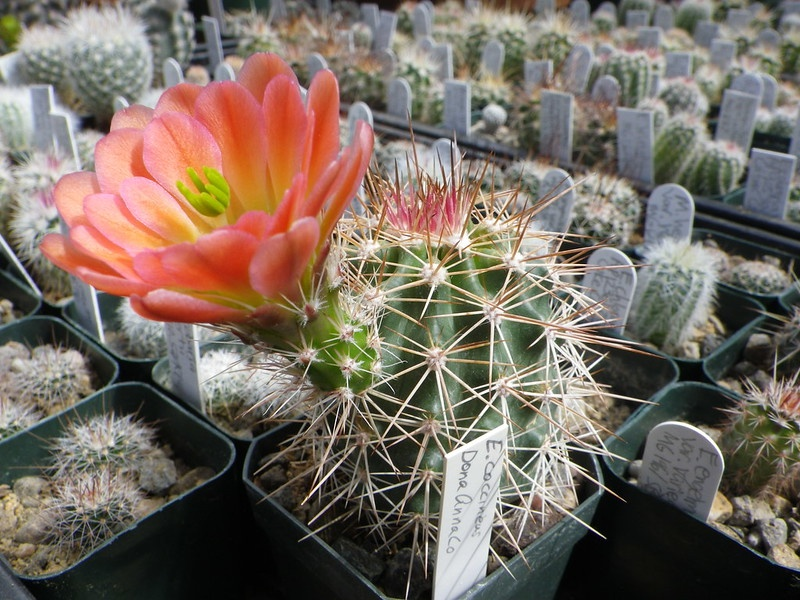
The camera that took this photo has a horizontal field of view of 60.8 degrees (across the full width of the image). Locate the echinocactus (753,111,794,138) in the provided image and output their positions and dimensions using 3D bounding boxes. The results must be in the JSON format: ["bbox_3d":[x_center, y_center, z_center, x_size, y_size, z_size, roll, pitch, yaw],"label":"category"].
[{"bbox_3d":[1.276,-0.594,2.339,0.093,0.105,0.097,-3,1,-18],"label":"echinocactus"}]

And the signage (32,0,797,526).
[{"bbox_3d":[-0.056,-0.027,1.323,0.630,0.949,0.616,-14,42,1],"label":"signage"}]

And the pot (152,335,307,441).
[{"bbox_3d":[-0.377,0.168,1.612,0.373,0.147,0.299,18,4,-42],"label":"pot"}]

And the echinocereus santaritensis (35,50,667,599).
[{"bbox_3d":[-0.039,0.065,1.298,0.747,1.014,0.673,1,19,9],"label":"echinocereus santaritensis"}]

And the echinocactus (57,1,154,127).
[{"bbox_3d":[-1.114,-0.942,2.791,0.387,0.522,0.389,-7,14,-18],"label":"echinocactus"}]

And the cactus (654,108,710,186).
[{"bbox_3d":[0.905,-0.500,2.255,0.141,0.197,0.144,-17,5,43],"label":"cactus"}]

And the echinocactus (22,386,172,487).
[{"bbox_3d":[-0.622,0.253,1.370,0.164,0.135,0.176,-18,-5,-10],"label":"echinocactus"}]

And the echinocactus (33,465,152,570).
[{"bbox_3d":[-0.578,0.402,1.308,0.159,0.168,0.155,22,42,-13],"label":"echinocactus"}]
